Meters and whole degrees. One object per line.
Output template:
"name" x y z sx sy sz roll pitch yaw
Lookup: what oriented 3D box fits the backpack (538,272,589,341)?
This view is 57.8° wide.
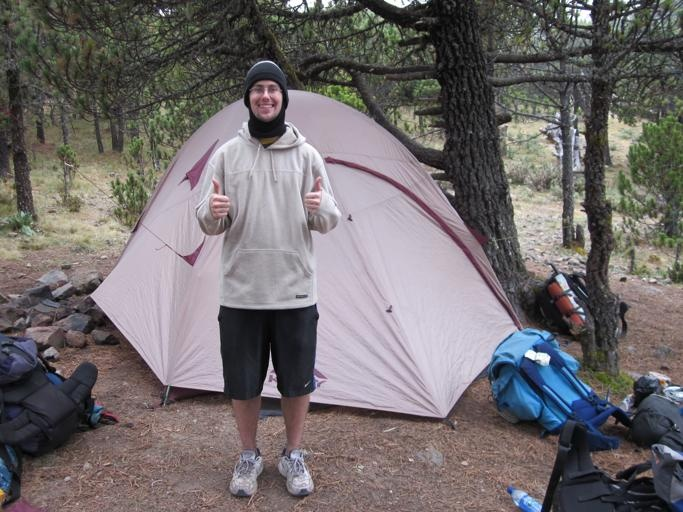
"backpack" 2.844 0.665 7.932 0.296 0.616 0.825 -8 57 -31

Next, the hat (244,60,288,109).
"hat" -0.601 -1.426 4.941 0.273 0.367 0.400 -2 -22 -2
